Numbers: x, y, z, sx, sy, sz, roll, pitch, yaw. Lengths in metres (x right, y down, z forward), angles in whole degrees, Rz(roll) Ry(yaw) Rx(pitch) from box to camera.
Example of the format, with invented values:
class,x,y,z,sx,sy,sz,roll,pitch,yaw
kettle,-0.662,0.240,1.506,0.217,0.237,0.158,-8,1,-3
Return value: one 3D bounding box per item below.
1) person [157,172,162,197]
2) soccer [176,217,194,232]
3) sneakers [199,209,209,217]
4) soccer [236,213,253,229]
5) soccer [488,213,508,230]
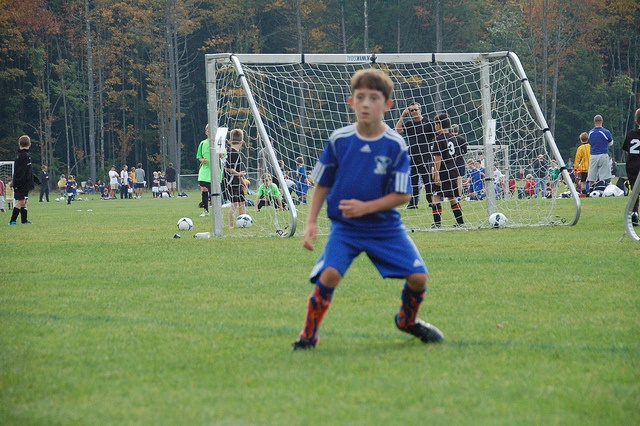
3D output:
class,x,y,z,sx,sy,sz,roll,pitch,yaw
person,-8.518,-1.514,45.580,0.259,1.247,1.104,-3,4,-11
soccer,-3.711,0.303,23.545,0.364,0.354,0.369,8,3,36
sneakers,-3.742,0.012,27.581,0.400,0.166,0.137,1,-2,36
soccer,-2.040,0.209,23.181,0.358,0.341,0.348,10,-1,-33
soccer,4.751,0.205,22.953,0.422,0.329,0.341,-26,11,9
